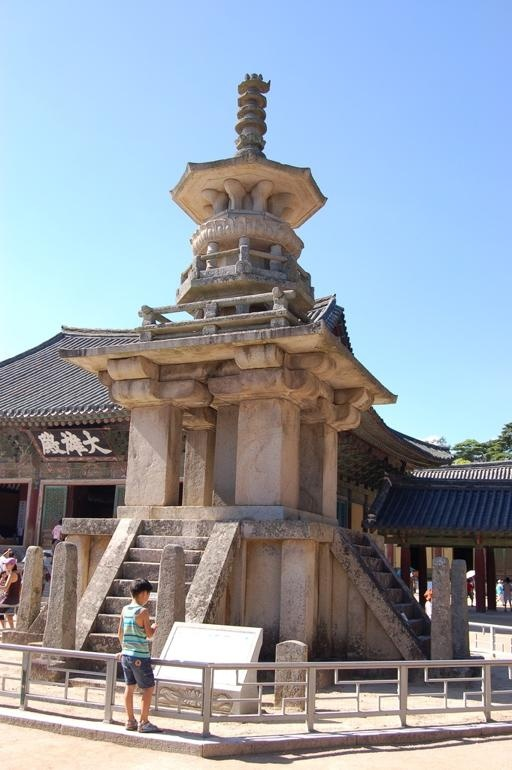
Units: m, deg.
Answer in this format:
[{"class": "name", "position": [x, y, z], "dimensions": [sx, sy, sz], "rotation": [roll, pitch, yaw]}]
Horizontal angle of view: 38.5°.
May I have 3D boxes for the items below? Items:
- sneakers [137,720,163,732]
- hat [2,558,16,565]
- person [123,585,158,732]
[{"class": "sneakers", "position": [-0.701, 2.277, 4.894], "dimensions": [0.171, 0.072, 0.060], "rotation": [2, -13, 1]}, {"class": "hat", "position": [-3.712, 2.675, 11.082], "dimensions": [0.181, 0.063, 0.138], "rotation": [-11, -8, 43]}, {"class": "person", "position": [-0.807, 1.889, 5.178], "dimensions": [0.329, 0.976, 0.424], "rotation": [7, -17, -9]}]
